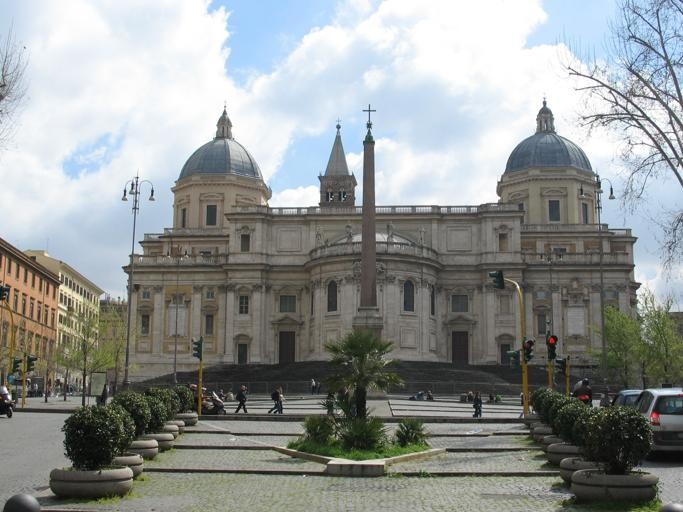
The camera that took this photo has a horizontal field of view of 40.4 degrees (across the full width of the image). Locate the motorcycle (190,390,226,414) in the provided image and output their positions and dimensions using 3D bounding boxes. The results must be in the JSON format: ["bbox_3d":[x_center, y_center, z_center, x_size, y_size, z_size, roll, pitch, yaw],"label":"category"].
[{"bbox_3d":[-6.895,7.654,48.128,1.640,1.437,4.454,1,-13,-8],"label":"motorcycle"}]
